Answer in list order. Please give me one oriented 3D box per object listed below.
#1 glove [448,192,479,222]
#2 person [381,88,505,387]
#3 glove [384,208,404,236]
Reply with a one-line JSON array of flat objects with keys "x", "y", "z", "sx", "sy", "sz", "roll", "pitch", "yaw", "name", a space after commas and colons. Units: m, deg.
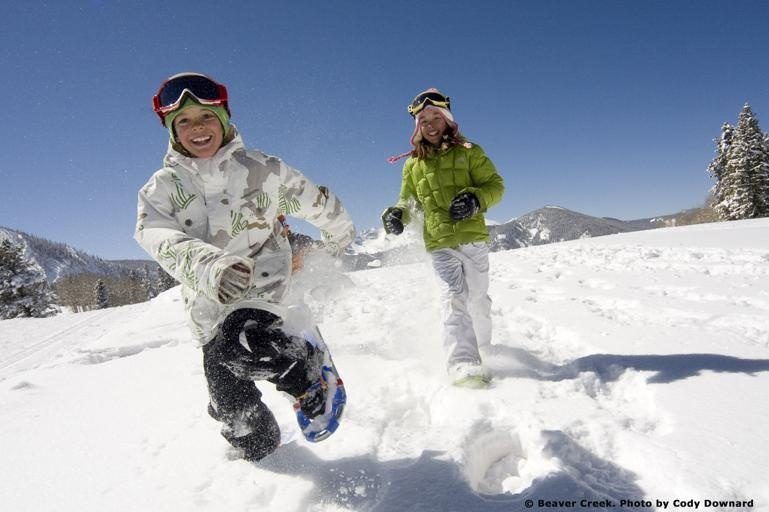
[{"x": 0.888, "y": -0.557, "z": 5.265, "sx": 0.359, "sy": 0.304, "sz": 0.171, "roll": -11, "pitch": 1, "yaw": 3, "name": "glove"}, {"x": 0.701, "y": -0.291, "z": 5.660, "sx": 1.034, "sy": 3.312, "sz": 1.197, "roll": -12, "pitch": 1, "yaw": -36, "name": "person"}, {"x": 0.137, "y": -0.449, "z": 6.098, "sx": 0.265, "sy": 0.317, "sz": 0.383, "roll": 12, "pitch": 9, "yaw": 23, "name": "glove"}]
